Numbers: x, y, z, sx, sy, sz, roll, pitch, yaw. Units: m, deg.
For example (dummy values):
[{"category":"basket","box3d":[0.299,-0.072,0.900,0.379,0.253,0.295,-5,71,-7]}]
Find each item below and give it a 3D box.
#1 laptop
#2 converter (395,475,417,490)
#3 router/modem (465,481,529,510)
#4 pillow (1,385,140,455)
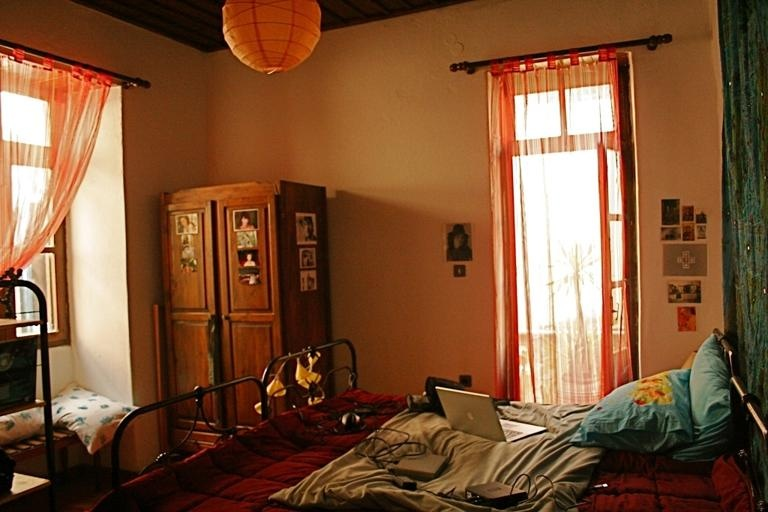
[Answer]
[{"category":"laptop","box3d":[0.675,0.948,4.008,0.424,0.269,0.443,-6,1,-40]},{"category":"converter","box3d":[0.128,1.302,3.522,0.117,0.065,0.172,-2,0,0]},{"category":"router/modem","box3d":[0.627,1.315,3.387,0.314,0.111,0.190,-2,0,-28]},{"category":"pillow","box3d":[-2.660,1.360,5.075,0.656,0.207,0.723,2,1,34]}]
